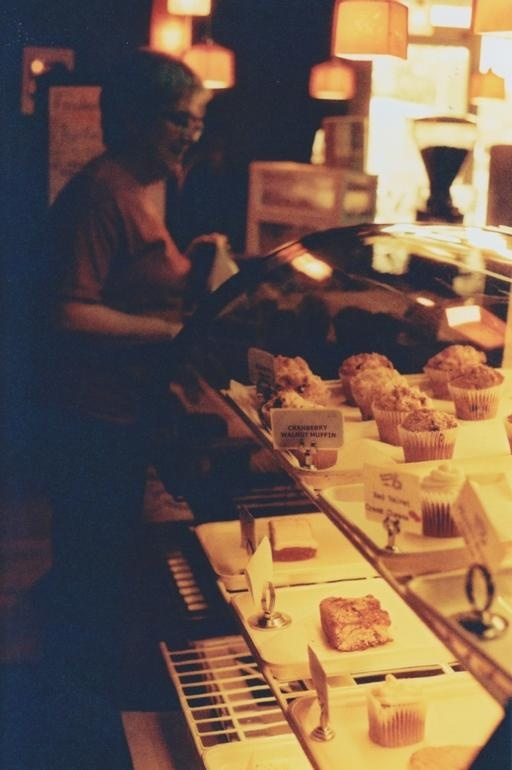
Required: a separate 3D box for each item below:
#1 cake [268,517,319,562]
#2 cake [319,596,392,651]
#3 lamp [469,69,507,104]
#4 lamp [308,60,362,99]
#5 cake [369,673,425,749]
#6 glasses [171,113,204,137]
[{"bbox_3d":[0.093,0.419,1.887,0.109,0.040,0.108,-1,34,-9],"label":"cake"},{"bbox_3d":[0.221,0.511,1.533,0.159,0.084,0.164,-2,11,17],"label":"cake"},{"bbox_3d":[0.795,-1.027,2.391,0.111,0.106,0.026,0,19,-1],"label":"lamp"},{"bbox_3d":[0.258,-1.017,2.314,0.132,0.143,0.132,1,4,-1],"label":"lamp"},{"bbox_3d":[0.252,0.588,1.266,0.110,0.110,0.089,-3,0,-7],"label":"cake"},{"bbox_3d":[-0.231,-0.858,2.289,0.103,0.079,0.023,0,36,5],"label":"glasses"}]
